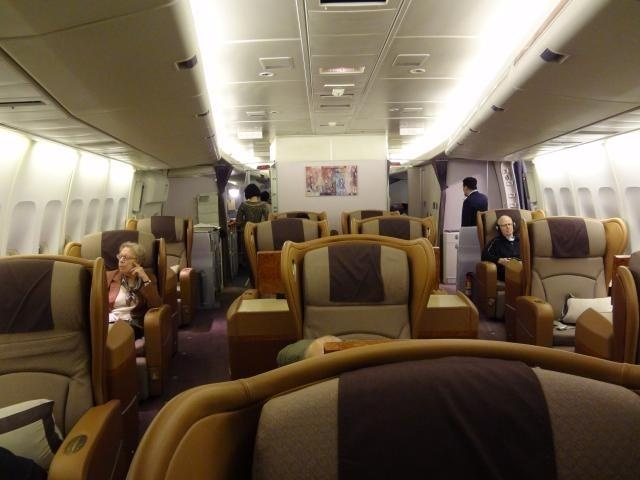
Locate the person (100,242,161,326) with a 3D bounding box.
[{"bbox_3d":[-1.977,0.529,4.483,0.555,1.004,0.576,3,7,2],"label":"person"}]

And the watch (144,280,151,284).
[{"bbox_3d":[-1.789,0.426,4.547,0.044,0.042,0.036,-21,-16,39],"label":"watch"}]

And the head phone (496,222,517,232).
[{"bbox_3d":[2.741,-0.206,6.467,0.148,0.081,0.185,-5,-6,6],"label":"head phone"}]
